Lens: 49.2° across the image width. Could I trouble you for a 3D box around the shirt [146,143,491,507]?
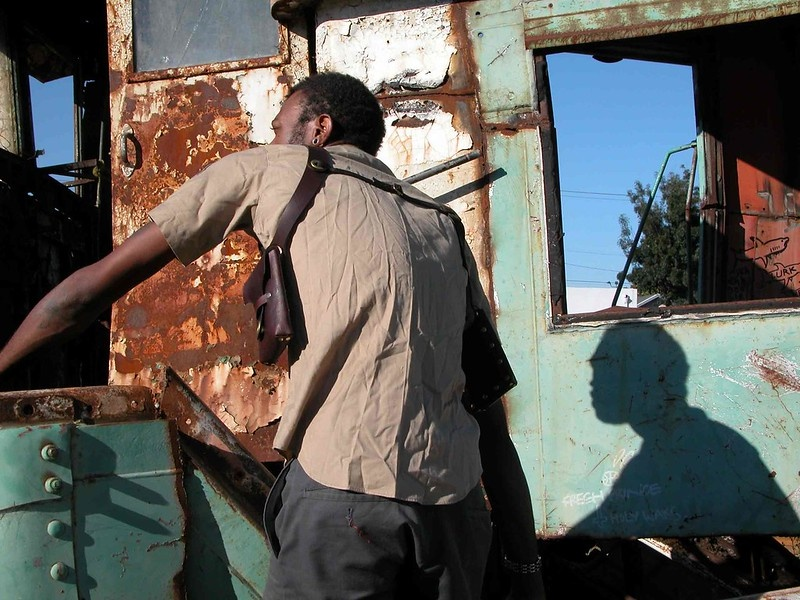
[{"bbox_3d":[-0.140,0.084,3.242,1.193,1.339,0.744,6,-17,-23],"label":"shirt"}]
